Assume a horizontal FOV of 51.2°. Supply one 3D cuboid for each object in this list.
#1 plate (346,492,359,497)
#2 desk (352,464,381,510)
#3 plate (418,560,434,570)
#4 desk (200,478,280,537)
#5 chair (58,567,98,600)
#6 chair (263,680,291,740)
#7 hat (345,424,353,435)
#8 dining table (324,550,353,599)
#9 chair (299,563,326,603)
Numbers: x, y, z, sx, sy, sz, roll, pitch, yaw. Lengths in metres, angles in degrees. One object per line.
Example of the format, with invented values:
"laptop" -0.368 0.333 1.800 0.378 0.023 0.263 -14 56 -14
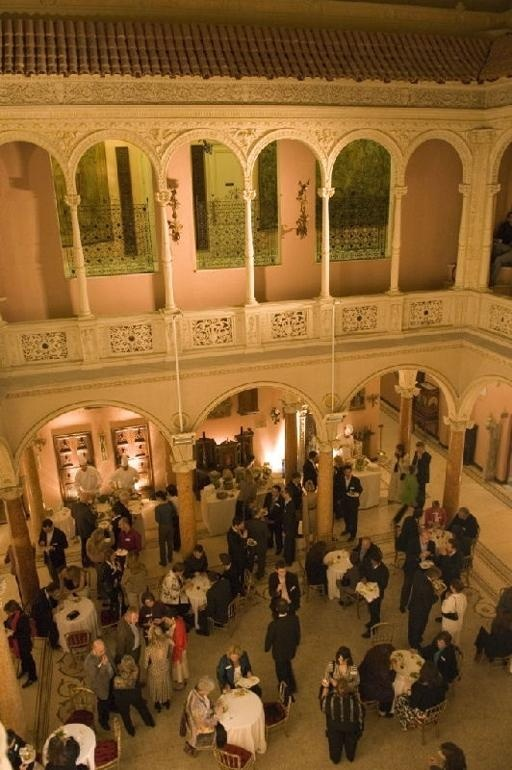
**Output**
"plate" 2.079 2.353 11.357 0.165 0.057 0.115 0 21 -5
"desk" 2.542 2.340 12.394 0.497 0.959 0.684 -13 29 -23
"plate" 2.781 2.944 8.746 0.273 0.072 0.181 -11 20 -39
"desk" -0.626 2.577 12.213 1.675 1.202 0.971 -12 28 -22
"chair" -3.187 3.582 9.587 0.607 0.935 0.458 -6 55 -14
"chair" 0.308 4.263 7.117 0.369 0.733 0.888 -1 14 2
"hat" 2.553 1.246 14.609 0.188 0.247 0.265 0 61 13
"dining table" 1.440 3.457 9.551 0.602 0.818 0.788 -1 22 2
"chair" 1.072 3.777 10.184 0.560 0.980 0.583 -2 30 1
